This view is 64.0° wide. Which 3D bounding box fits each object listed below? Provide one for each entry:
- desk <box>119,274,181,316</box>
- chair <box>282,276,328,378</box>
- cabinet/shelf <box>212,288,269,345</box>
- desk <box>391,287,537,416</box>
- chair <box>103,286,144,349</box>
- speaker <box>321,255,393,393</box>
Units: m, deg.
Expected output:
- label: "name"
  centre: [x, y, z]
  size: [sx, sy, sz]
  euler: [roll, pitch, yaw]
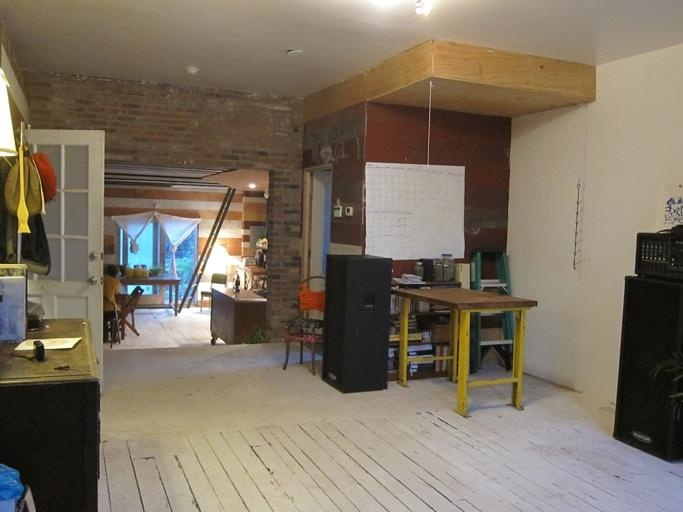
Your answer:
- label: "desk"
  centre: [-4.631, 0.786, 13.523]
  size: [1.735, 1.103, 0.922]
  euler: [1, 1, -18]
- label: "chair"
  centre: [-0.488, 0.763, 7.086]
  size: [0.531, 1.163, 1.729]
  euler: [1, 8, -3]
- label: "cabinet/shelf"
  centre: [-1.668, 1.006, 8.996]
  size: [0.337, 0.595, 1.086]
  euler: [-2, 4, -22]
- label: "desk"
  centre: [1.311, 0.755, 5.925]
  size: [1.183, 1.435, 1.758]
  euler: [-2, 5, -18]
- label: "chair"
  centre: [-4.209, 1.210, 10.402]
  size: [0.890, 1.057, 0.699]
  euler: [1, 0, -27]
- label: "speaker"
  centre: [0.154, 0.717, 5.887]
  size: [0.735, 1.433, 0.480]
  euler: [2, 8, 5]
